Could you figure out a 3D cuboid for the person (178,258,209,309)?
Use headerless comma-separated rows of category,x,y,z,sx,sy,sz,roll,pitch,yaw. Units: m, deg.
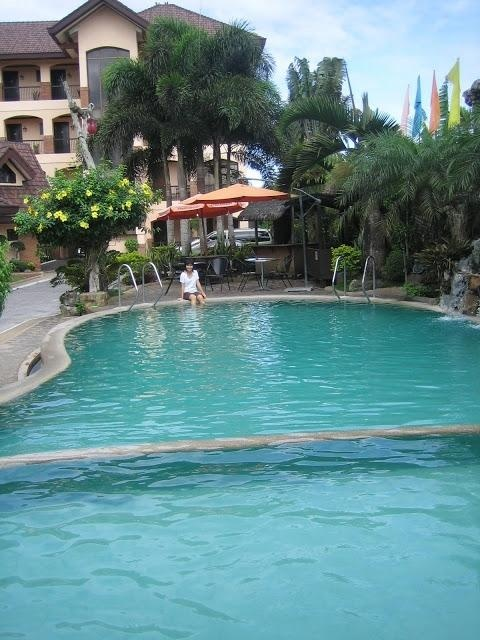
person,-1.463,-1.147,16.023,0.766,1.294,1.241,-2,8,-5

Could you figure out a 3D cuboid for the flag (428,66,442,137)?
flag,12.997,-14.719,33.743,0.465,4.934,5.868,2,9,20
